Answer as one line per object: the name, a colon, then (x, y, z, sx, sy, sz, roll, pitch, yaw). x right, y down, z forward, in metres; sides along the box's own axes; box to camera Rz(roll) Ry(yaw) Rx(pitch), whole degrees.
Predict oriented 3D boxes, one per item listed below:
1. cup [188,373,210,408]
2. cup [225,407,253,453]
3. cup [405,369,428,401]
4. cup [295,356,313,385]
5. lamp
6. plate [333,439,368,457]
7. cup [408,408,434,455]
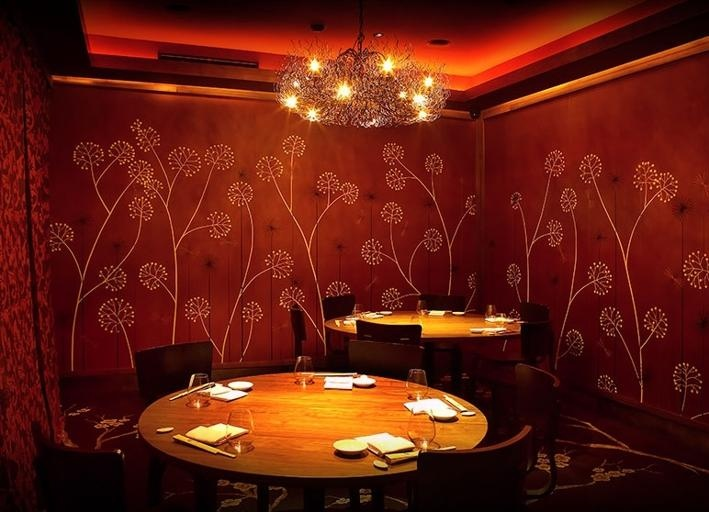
cup: (-0.987, 0.859, 3.480, 0.160, 0.232, 0.178, 1, 3, 1)
cup: (-0.636, 0.983, 3.071, 0.172, 0.255, 0.177, -1, 0, 0)
cup: (0.397, 0.813, 3.478, 0.171, 0.218, 0.163, -2, 0, 0)
cup: (-0.359, 0.780, 3.748, 0.165, 0.222, 0.160, -1, 2, 0)
lamp: (0.104, -1.924, 5.503, 1.660, 1.158, 1.613, 1, 10, 8)
plate: (-0.020, 1.038, 2.921, 0.190, 0.054, 0.104, 0, 10, 0)
cup: (0.363, 0.976, 3.019, 0.154, 0.187, 0.134, -2, 2, -16)
